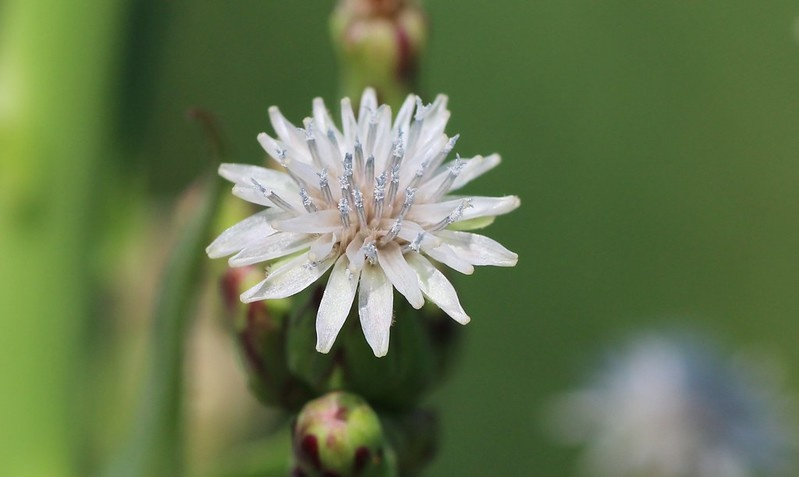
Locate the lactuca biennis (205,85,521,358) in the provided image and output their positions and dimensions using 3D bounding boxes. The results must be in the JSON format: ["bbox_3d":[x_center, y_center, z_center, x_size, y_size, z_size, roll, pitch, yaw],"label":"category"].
[{"bbox_3d":[-0.068,-0.143,2.648,0.912,0.972,0.405,1,56,-22],"label":"lactuca biennis"}]
